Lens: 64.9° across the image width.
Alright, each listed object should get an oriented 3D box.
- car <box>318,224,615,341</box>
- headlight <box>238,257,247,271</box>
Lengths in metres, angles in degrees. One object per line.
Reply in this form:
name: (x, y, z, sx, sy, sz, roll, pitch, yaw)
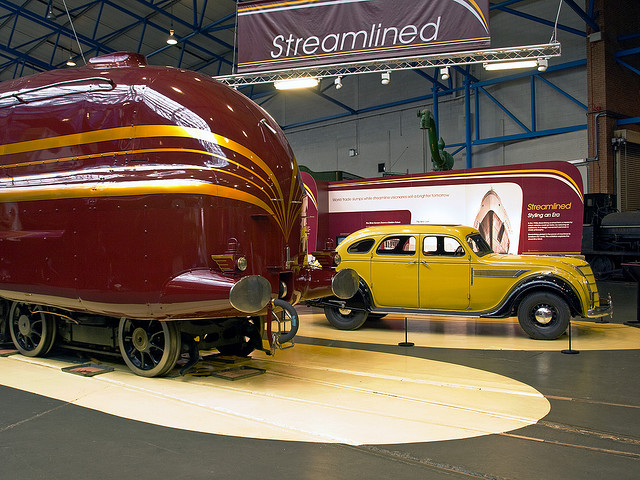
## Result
car: (2.491, 0.641, 10.077, 5.664, 1.765, 1.806, 2, 7, 24)
headlight: (-0.941, 0.278, 6.078, 0.139, 0.122, 0.113, 2, 2, 25)
